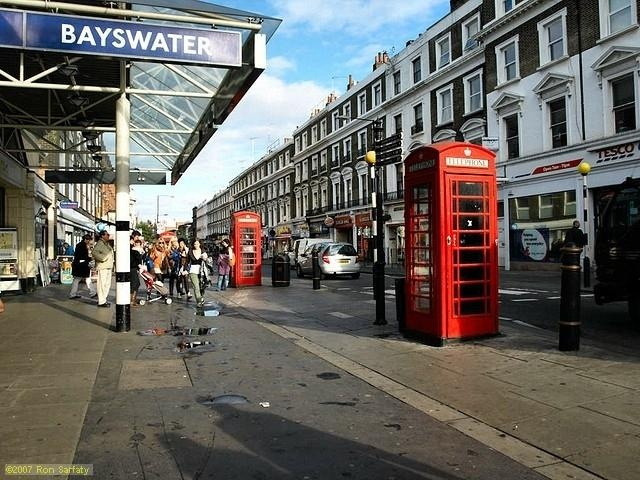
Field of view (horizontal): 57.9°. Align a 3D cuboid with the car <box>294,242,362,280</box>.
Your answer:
[{"bbox_3d":[0.388,0.923,25.506,1.446,1.088,2.522,0,3,-20],"label":"car"}]

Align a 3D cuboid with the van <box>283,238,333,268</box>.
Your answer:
[{"bbox_3d":[-0.647,0.706,31.520,1.462,1.251,2.265,-1,3,-21],"label":"van"}]

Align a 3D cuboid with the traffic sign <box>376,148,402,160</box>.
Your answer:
[{"bbox_3d":[1.935,-2.309,15.702,0.624,0.197,0.543,-5,-5,43],"label":"traffic sign"}]

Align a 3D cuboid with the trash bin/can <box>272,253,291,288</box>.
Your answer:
[{"bbox_3d":[-1.410,1.123,21.216,0.590,1.216,0.763,0,5,-7],"label":"trash bin/can"}]

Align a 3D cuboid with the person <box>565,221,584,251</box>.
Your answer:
[{"bbox_3d":[8.025,-0.154,18.108,0.489,0.839,1.286,3,5,25],"label":"person"}]
